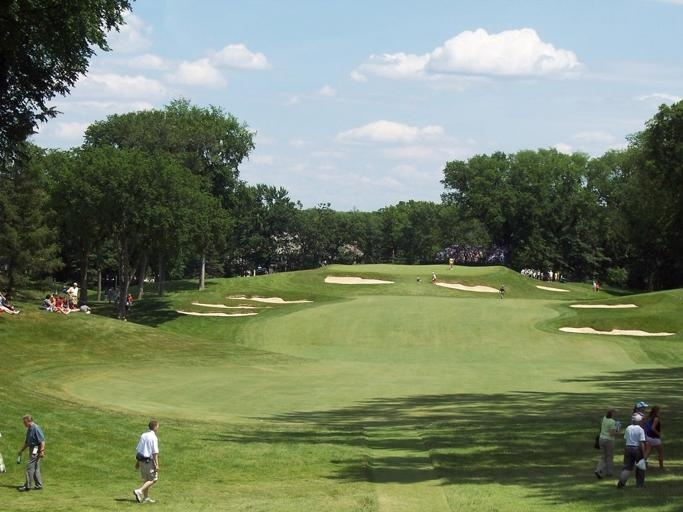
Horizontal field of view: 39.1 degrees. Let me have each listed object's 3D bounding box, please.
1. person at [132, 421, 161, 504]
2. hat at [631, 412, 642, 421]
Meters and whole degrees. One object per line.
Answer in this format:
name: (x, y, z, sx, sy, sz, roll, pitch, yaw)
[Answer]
person: (-8.147, 8.316, 40.038, 0.941, 3.169, 1.356, 0, 9, -13)
hat: (12.359, 6.634, 40.522, 0.289, 0.306, 0.383, 5, 13, 38)
